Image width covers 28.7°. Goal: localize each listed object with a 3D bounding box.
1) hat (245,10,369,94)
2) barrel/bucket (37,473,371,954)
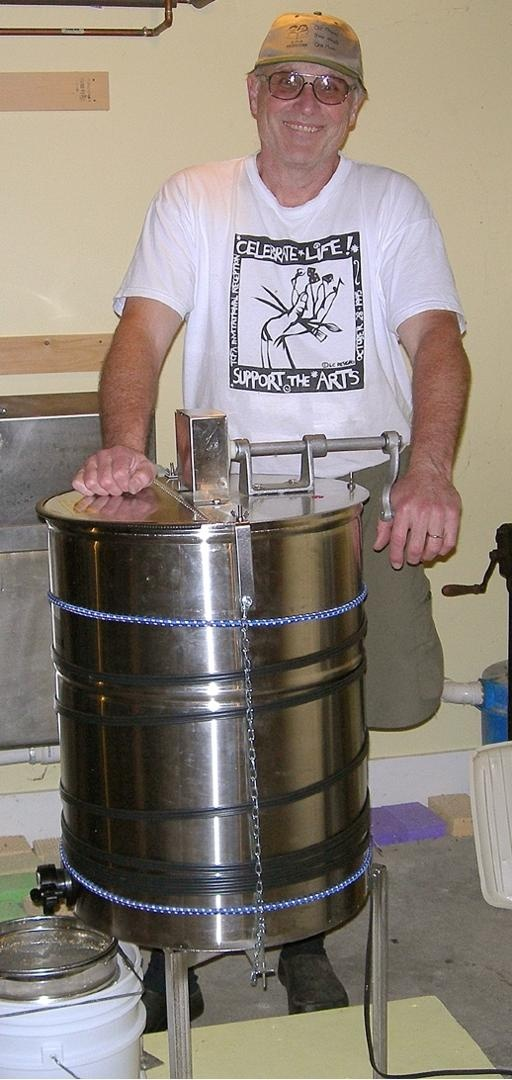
[{"bbox_3d":[0.102,-0.856,1.763,0.182,0.142,0.246,7,12,3],"label":"hat"},{"bbox_3d":[-0.021,0.173,1.312,0.394,0.539,0.504,-2,9,-8],"label":"barrel/bucket"}]
